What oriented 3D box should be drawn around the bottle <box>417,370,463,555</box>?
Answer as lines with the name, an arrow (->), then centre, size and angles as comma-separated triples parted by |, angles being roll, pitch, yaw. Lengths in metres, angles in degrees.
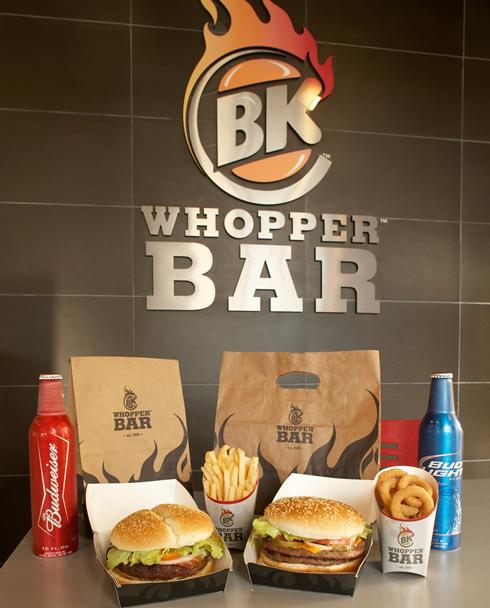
bottle -> 0.299, 0.230, 0.795 | 0.054, 0.244, 0.085 | 2, -3, -26

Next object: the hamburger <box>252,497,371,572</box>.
hamburger -> 0.094, 0.327, 0.759 | 0.153, 0.092, 0.172 | 5, -10, -21

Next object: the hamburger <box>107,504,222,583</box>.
hamburger -> -0.106, 0.316, 0.712 | 0.157, 0.064, 0.136 | 0, 2, -16

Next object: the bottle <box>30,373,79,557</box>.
bottle -> -0.273, 0.244, 0.812 | 0.044, 0.244, 0.101 | 1, -1, 15
